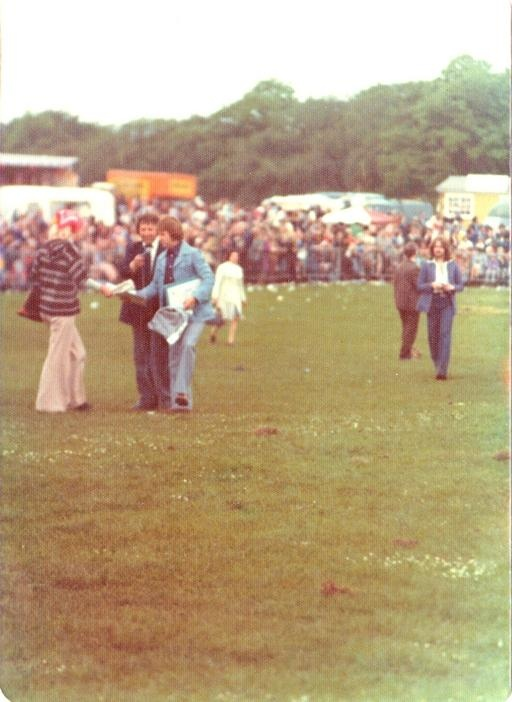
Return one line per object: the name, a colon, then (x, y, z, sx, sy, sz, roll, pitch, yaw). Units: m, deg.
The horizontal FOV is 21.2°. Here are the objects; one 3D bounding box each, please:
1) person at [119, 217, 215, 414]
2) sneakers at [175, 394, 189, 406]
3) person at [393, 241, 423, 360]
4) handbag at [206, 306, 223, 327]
person: (-0.581, -0.257, 9.908, 0.537, 1.420, 0.192, -2, 6, -4)
sneakers: (-0.542, 0.368, 10.027, 0.113, 0.137, 0.068, 1, -1, 0)
person: (1.117, -0.362, 10.204, 0.191, 0.851, 0.220, -1, 6, 7)
handbag: (-0.305, -0.243, 10.030, 0.116, 0.248, 0.120, 2, 13, 1)
